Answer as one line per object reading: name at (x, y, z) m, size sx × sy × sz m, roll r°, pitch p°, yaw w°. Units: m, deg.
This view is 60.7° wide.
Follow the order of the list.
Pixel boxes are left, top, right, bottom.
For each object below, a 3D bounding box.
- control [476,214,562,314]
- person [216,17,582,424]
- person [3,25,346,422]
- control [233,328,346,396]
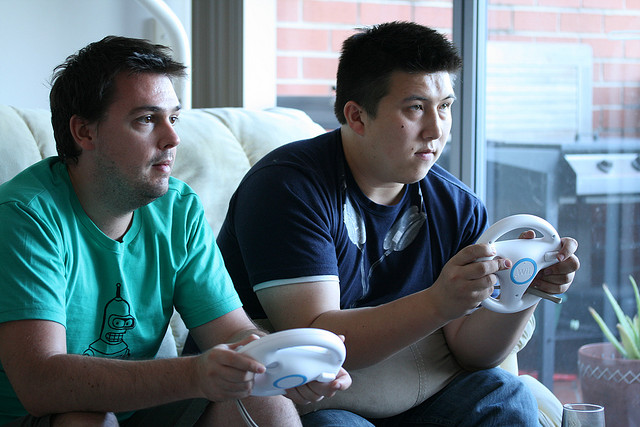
control at (0.542, 0.138, 1.509) m, size 0.290 × 0.299 × 0.075 m, roll -5°, pitch 19°, yaw -19°
person at (0.343, 0.068, 2.165) m, size 1.044 × 1.613 × 1.258 m, roll 5°, pitch -7°, yaw -36°
person at (-0.300, 0.098, 1.717) m, size 1.094 × 1.177 × 0.816 m, roll 2°, pitch 0°, yaw 26°
control at (-0.055, 0.369, 1.329) m, size 0.282 × 0.101 × 0.268 m, roll -8°, pitch -19°, yaw -30°
